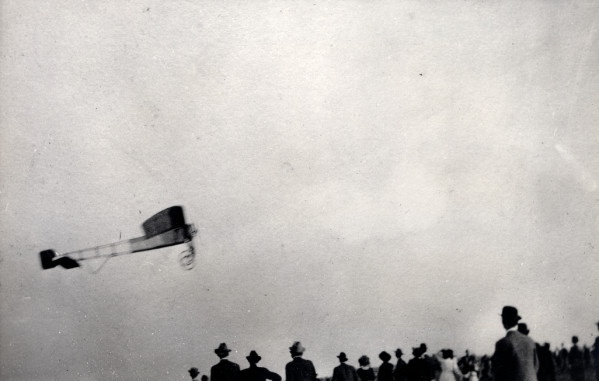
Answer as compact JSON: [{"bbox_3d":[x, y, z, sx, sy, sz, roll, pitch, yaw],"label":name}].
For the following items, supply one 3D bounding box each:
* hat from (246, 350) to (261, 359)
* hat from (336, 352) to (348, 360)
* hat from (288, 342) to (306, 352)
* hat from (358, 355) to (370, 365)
[{"bbox_3d":[-0.296,1.072,6.776,0.091,0.031,0.051,9,-66,5],"label":"hat"},{"bbox_3d":[0.279,1.089,6.800,0.053,0.025,0.063,-32,-75,20],"label":"hat"},{"bbox_3d":[-0.015,1.022,6.785,0.074,0.066,0.026,-4,-77,-20],"label":"hat"},{"bbox_3d":[0.419,1.115,6.804,0.067,0.031,0.063,-20,-71,17],"label":"hat"}]
